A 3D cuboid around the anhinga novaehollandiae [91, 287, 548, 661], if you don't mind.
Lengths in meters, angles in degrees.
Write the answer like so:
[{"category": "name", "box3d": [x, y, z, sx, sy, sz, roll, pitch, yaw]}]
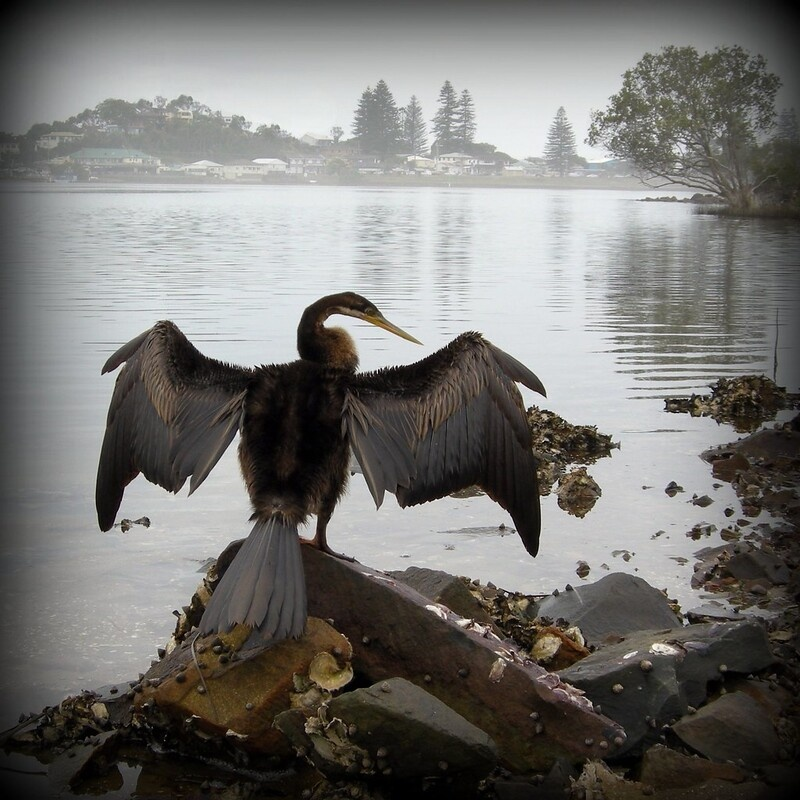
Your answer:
[{"category": "anhinga novaehollandiae", "box3d": [-0.567, 0.253, 5.908, 2.610, 1.097, 2.402, 5, 22, 4]}]
